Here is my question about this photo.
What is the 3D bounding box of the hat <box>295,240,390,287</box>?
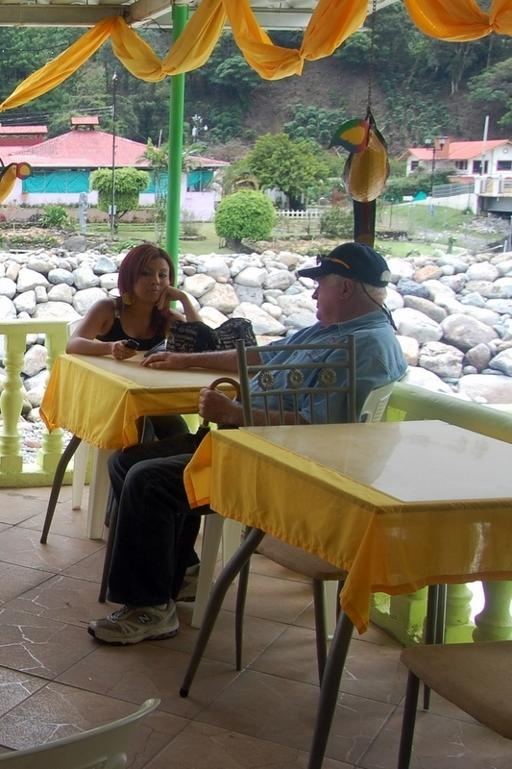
[{"bbox_3d":[0.349,-0.464,2.502,0.321,0.158,0.198,13,11,6],"label":"hat"}]

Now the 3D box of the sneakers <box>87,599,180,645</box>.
[{"bbox_3d":[-0.443,0.864,2.306,0.331,0.156,0.123,4,2,-22],"label":"sneakers"}]

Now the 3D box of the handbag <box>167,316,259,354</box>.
[{"bbox_3d":[-0.230,-0.221,2.870,0.306,0.111,0.219,-6,5,-1],"label":"handbag"}]

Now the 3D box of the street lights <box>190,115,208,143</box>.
[{"bbox_3d":[-2.568,-11.273,27.421,0.789,1.234,0.318,0,8,-26],"label":"street lights"}]
